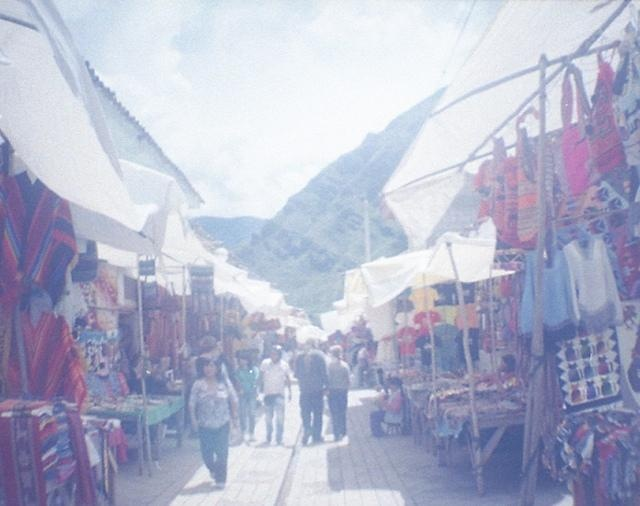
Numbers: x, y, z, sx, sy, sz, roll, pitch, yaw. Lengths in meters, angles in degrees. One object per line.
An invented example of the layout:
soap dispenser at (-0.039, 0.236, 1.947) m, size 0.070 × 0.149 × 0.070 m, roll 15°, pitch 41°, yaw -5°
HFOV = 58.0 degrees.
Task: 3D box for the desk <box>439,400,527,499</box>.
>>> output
desk at (2.033, 2.332, 7.518) m, size 1.010 × 1.129 × 1.933 m, roll -2°, pitch -7°, yaw 11°

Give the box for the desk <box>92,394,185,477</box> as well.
desk at (-2.548, 2.513, 8.241) m, size 0.846 × 1.105 × 2.829 m, roll 0°, pitch -7°, yaw -5°

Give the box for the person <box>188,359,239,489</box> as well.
person at (-1.348, 2.136, 7.230) m, size 0.578 × 1.590 × 0.315 m, roll 1°, pitch -5°, yaw -15°
